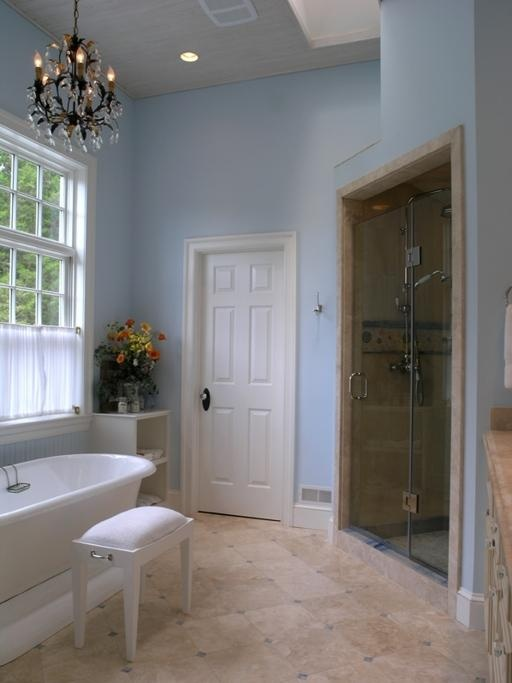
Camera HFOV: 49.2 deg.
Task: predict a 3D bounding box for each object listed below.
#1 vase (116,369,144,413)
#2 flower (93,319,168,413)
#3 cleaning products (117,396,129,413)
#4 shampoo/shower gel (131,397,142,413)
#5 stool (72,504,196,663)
[{"bbox_3d":[-0.877,0.375,3.886,0.148,0.258,0.243,2,0,-40],"label":"vase"},{"bbox_3d":[-0.946,0.108,4.277,0.542,0.965,0.645,1,4,-15],"label":"flower"},{"bbox_3d":[-0.914,0.435,3.832,0.071,0.107,0.109,1,0,-10],"label":"cleaning products"},{"bbox_3d":[-0.822,0.437,3.949,0.074,0.135,0.135,-1,-2,11],"label":"shampoo/shower gel"},{"bbox_3d":[-0.497,0.967,2.347,0.279,0.498,0.513,1,-1,22],"label":"stool"}]
